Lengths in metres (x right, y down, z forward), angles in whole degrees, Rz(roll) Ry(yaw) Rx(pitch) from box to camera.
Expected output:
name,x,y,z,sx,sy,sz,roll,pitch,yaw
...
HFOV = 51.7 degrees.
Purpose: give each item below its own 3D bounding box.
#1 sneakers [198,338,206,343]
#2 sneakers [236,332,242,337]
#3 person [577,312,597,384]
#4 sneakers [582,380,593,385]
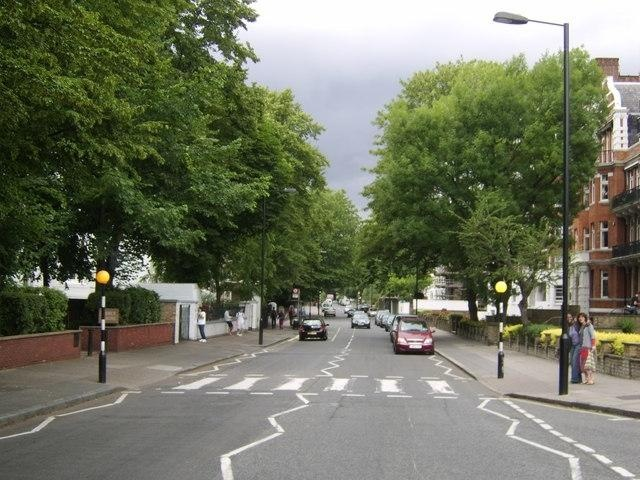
name,x,y,z,sx,sy,sz,roll,pitch,yaw
sneakers,-6.783,5.916,38.202,0.218,0.192,0.453,1,-10,0
sneakers,-5.581,6.694,46.287,0.276,0.314,0.424,-1,-8,-38
person,8.391,3.493,20.927,0.478,2.223,0.817,-4,-6,21
sneakers,8.339,4.519,20.728,0.104,0.150,0.348,6,-5,-28
